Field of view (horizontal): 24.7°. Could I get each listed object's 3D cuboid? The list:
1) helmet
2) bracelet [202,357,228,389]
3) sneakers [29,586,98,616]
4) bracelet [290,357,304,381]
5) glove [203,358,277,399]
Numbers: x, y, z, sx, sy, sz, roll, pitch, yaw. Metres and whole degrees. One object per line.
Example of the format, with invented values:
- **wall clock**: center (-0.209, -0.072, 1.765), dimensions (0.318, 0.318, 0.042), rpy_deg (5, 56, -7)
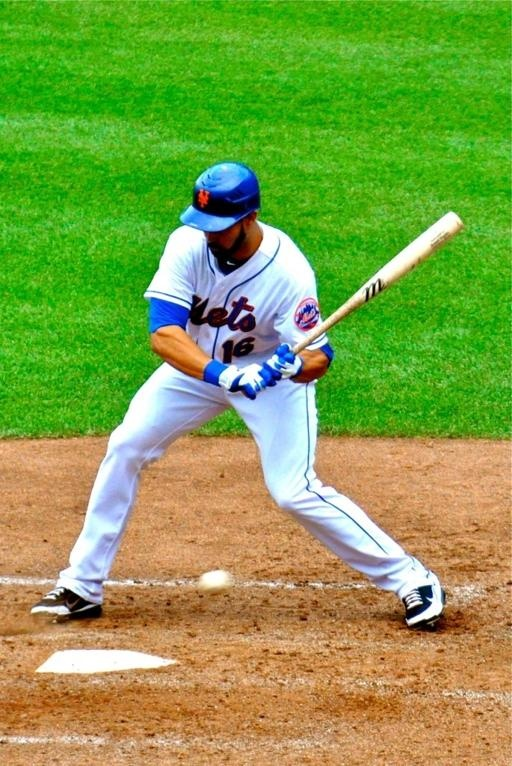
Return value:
- **helmet**: center (-0.146, -0.797, 5.047), dimensions (0.360, 0.189, 0.277), rpy_deg (-35, 52, -29)
- **bracelet**: center (-0.189, -0.043, 5.081), dimensions (0.089, 0.095, 0.107), rpy_deg (19, 3, -8)
- **sneakers**: center (-0.880, 1.026, 5.438), dimensions (0.363, 0.126, 0.112), rpy_deg (6, 20, -17)
- **bracelet**: center (0.181, -0.058, 5.090), dimensions (0.036, 0.091, 0.066), rpy_deg (34, 68, 0)
- **glove**: center (-0.058, -0.037, 5.030), dimensions (0.215, 0.061, 0.205), rpy_deg (-6, 18, -32)
